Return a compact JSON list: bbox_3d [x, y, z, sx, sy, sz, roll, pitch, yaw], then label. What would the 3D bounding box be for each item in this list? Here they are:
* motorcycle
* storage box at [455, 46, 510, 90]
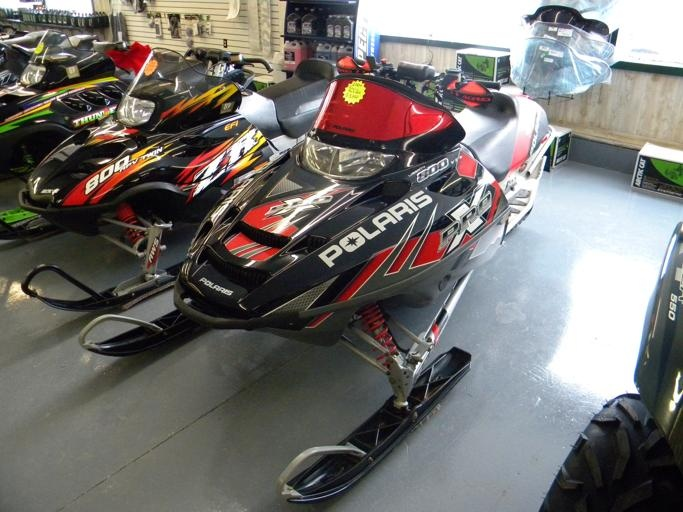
[{"bbox_3d":[0.556,-0.342,3.237,3.681,1.590,1.985,-25,42,-34],"label":"motorcycle"},{"bbox_3d":[1.615,-2.150,5.513,0.272,0.254,0.492,-23,33,-37],"label":"storage box"}]
